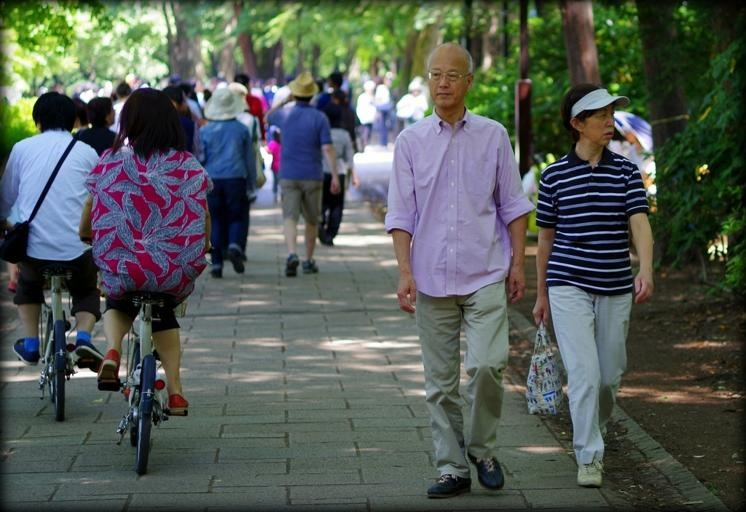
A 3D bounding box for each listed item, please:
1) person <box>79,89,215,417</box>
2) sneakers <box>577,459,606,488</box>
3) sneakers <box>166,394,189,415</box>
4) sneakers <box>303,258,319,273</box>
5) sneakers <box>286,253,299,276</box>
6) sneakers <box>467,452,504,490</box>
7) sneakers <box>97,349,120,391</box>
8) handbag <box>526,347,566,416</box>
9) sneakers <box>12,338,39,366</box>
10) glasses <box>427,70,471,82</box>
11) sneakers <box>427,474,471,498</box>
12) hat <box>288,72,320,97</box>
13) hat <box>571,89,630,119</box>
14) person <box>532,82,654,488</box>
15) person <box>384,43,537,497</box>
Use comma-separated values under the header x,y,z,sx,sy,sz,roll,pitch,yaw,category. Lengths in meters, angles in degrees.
x,y,z,sx,sy,sz,roll,pitch,yaw,category
-1.538,0.064,6.509,0.861,2.426,0.616,-3,12,-10,person
1.460,1.459,6.206,0.166,0.173,0.138,1,12,7,sneakers
-1.401,1.068,6.606,0.143,0.129,0.308,0,-11,-6,sneakers
-0.832,0.146,12.463,0.111,0.129,0.286,4,8,18,sneakers
-1.049,0.119,12.127,0.157,0.311,0.198,-5,13,-22,sneakers
0.775,1.434,6.155,0.125,0.130,0.338,-17,24,-22,sneakers
-1.853,0.809,6.550,0.131,0.326,0.151,4,42,-2,sneakers
1.203,0.863,6.533,0.289,0.424,0.273,-8,-3,-3,handbag
-2.868,0.779,7.616,0.135,0.123,0.293,-9,30,-43,sneakers
0.496,-1.179,6.036,0.257,0.076,0.091,1,12,6,glasses
0.500,1.520,6.117,0.307,0.127,0.125,0,2,-25,sneakers
-0.929,-2.285,12.352,0.363,0.345,0.412,-1,12,-4,hat
1.567,-1.038,6.379,0.324,0.104,0.222,-21,-6,33,hat
1.543,0.181,6.361,0.728,2.655,0.920,-2,12,-9,person
0.556,0.092,6.079,0.946,2.910,0.663,1,12,9,person
